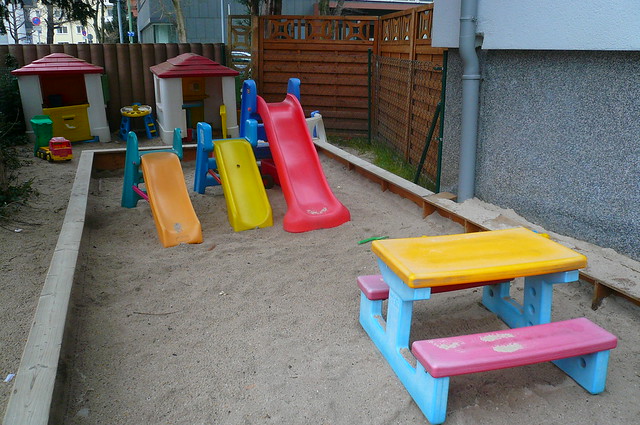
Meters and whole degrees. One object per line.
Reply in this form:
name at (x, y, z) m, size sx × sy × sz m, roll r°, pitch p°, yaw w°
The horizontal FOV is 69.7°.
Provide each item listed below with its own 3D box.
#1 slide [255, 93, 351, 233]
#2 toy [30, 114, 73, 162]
slide at (-0.249, -0.822, 6.295) m, size 0.795 × 0.932 × 2.481 m, roll -9°, pitch 33°, yaw -12°
toy at (-4.967, -1.329, 8.539) m, size 1.045 × 0.683 × 0.399 m, roll 21°, pitch 24°, yaw 40°
